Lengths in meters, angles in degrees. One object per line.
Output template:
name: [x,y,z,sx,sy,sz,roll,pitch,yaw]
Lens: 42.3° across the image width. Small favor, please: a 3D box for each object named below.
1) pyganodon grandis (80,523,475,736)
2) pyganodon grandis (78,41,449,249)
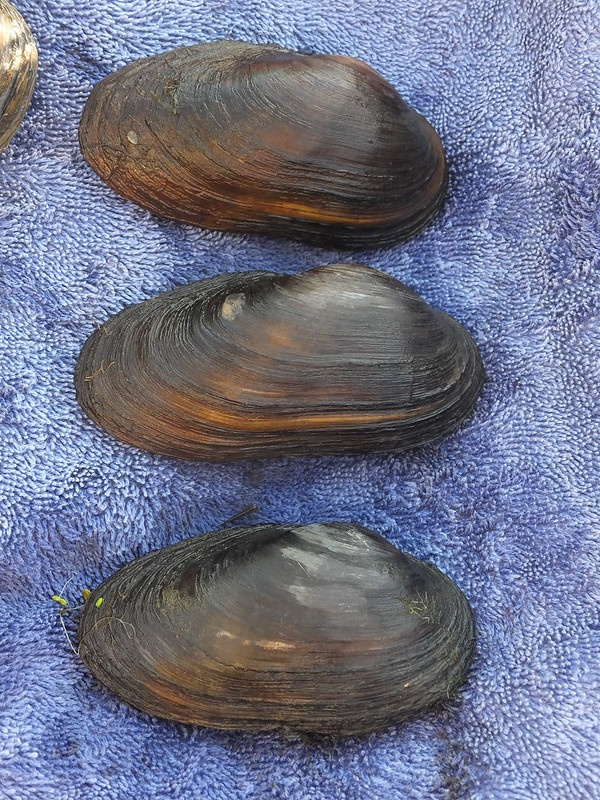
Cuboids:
pyganodon grandis: [-0.025,0.241,0.834,0.430,0.137,0.200,0,52,3]
pyganodon grandis: [-0.037,-0.301,0.952,0.436,0.194,0.187,4,54,6]
